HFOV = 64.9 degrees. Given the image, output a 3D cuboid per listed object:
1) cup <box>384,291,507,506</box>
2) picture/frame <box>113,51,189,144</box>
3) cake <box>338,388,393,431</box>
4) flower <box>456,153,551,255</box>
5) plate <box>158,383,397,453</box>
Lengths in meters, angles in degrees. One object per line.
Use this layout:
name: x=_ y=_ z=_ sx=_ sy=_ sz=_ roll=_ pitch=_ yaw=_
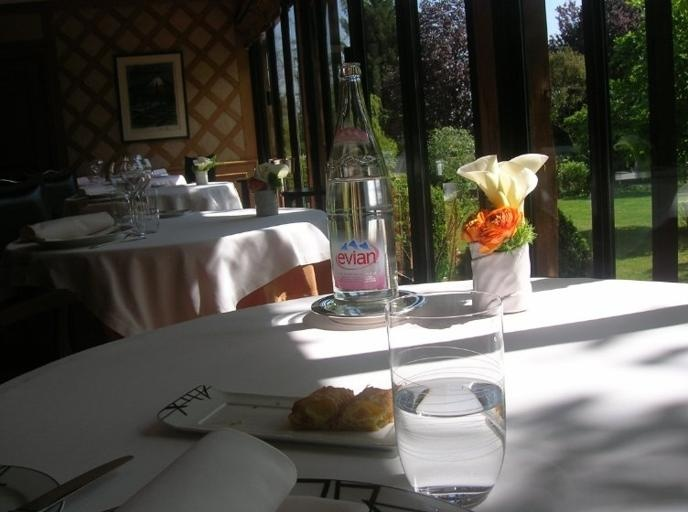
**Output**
cup: x=0.090 y=0.112 z=0.517 sx=0.113 sy=0.234 sz=0.125 roll=-4 pitch=1 yaw=26
picture/frame: x=-2.377 y=-1.987 z=6.742 sx=0.843 sy=1.181 sz=0.056 roll=-15 pitch=49 yaw=-28
cake: x=0.019 y=0.137 z=0.477 sx=0.039 sy=0.015 sz=0.031 roll=-20 pitch=23 yaw=-7
flower: x=0.234 y=-0.079 z=0.841 sx=0.117 sy=0.165 sz=0.131 roll=-5 pitch=-5 yaw=36
plate: x=-0.069 y=0.150 z=0.499 sx=0.135 sy=0.018 sz=0.087 roll=2 pitch=5 yaw=6
